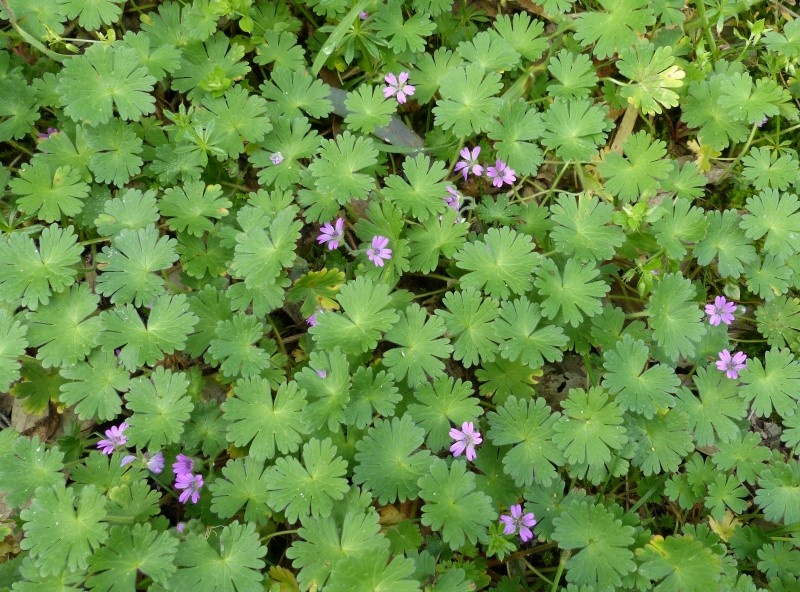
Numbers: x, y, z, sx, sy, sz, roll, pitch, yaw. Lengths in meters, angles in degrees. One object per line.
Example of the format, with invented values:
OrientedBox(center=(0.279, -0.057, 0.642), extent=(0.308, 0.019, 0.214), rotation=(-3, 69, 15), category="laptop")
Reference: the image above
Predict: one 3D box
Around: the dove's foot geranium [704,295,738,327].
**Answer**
OrientedBox(center=(2.345, 0.116, 5.316), extent=(0.199, 0.069, 0.252), rotation=(-17, 88, 11), category="dove's foot geranium")

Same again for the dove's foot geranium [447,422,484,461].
OrientedBox(center=(0.434, 0.966, 4.831), extent=(0.199, 0.164, 0.244), rotation=(-1, 84, 1), category="dove's foot geranium")

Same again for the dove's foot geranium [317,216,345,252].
OrientedBox(center=(-0.491, -0.441, 5.302), extent=(0.197, 0.100, 0.239), rotation=(17, 101, 4), category="dove's foot geranium")

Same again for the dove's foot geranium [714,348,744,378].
OrientedBox(center=(2.370, 0.488, 5.199), extent=(0.177, 0.058, 0.208), rotation=(-21, 71, 0), category="dove's foot geranium")

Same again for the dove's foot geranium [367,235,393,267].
OrientedBox(center=(-0.140, -0.320, 5.192), extent=(0.195, 0.169, 0.195), rotation=(-41, 85, -3), category="dove's foot geranium")
